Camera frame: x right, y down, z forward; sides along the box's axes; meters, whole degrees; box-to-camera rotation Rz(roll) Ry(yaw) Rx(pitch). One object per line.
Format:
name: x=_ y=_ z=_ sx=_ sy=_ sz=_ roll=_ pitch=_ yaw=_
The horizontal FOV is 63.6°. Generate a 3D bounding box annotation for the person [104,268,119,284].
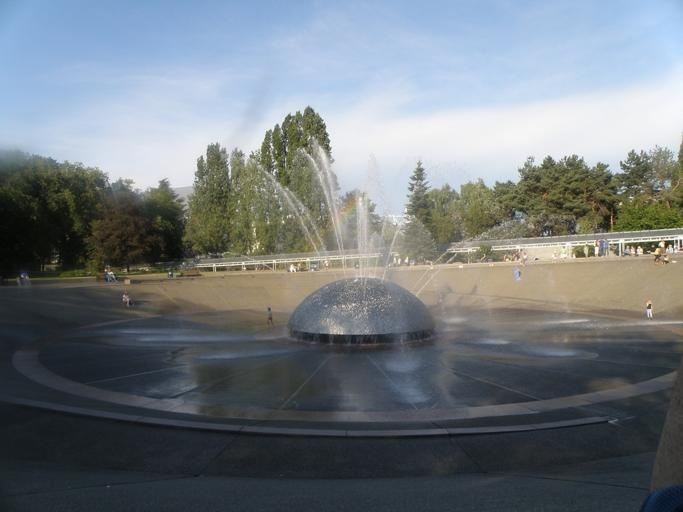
person: x=-19.299 y=1.661 z=46.109 sx=0.879 sy=1.224 sz=2.881 roll=1 pitch=2 yaw=-31
